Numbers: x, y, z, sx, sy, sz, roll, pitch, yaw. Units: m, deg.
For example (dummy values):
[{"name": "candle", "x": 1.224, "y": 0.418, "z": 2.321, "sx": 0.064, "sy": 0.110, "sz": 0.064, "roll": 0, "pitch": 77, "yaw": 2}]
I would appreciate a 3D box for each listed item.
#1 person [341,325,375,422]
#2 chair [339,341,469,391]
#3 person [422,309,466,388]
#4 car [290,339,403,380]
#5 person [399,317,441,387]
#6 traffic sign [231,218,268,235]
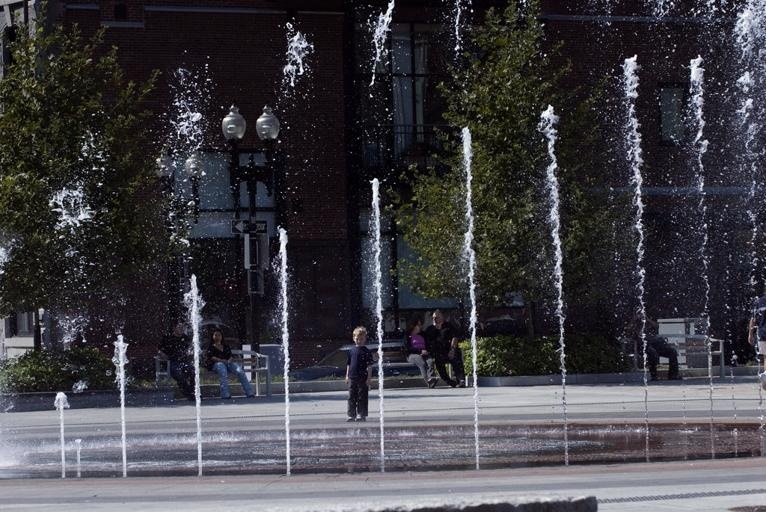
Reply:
[{"name": "person", "x": -0.683, "y": 2.976, "z": 46.230, "sx": 0.696, "sy": 2.297, "sz": 0.862, "roll": -4, "pitch": -4, "yaw": -1}, {"name": "chair", "x": 0.371, "y": 3.186, "z": 53.901, "sx": 4.902, "sy": 1.535, "sz": 2.322, "roll": 1, "pitch": -3, "yaw": -16}, {"name": "person", "x": 1.718, "y": 2.671, "z": 52.787, "sx": 1.029, "sy": 2.155, "sz": 1.029, "roll": 4, "pitch": 0, "yaw": -19}, {"name": "car", "x": -1.110, "y": 3.080, "z": 54.605, "sx": 2.938, "sy": 0.884, "sz": 1.268, "roll": 0, "pitch": -2, "yaw": -9}, {"name": "person", "x": 1.047, "y": 2.843, "z": 53.075, "sx": 0.996, "sy": 1.830, "sz": 0.879, "roll": 3, "pitch": 0, "yaw": -23}, {"name": "traffic sign", "x": -3.751, "y": -0.757, "z": 51.414, "sx": 0.916, "sy": 0.424, "sz": 0.530, "roll": -2, "pitch": -4, "yaw": -14}]
